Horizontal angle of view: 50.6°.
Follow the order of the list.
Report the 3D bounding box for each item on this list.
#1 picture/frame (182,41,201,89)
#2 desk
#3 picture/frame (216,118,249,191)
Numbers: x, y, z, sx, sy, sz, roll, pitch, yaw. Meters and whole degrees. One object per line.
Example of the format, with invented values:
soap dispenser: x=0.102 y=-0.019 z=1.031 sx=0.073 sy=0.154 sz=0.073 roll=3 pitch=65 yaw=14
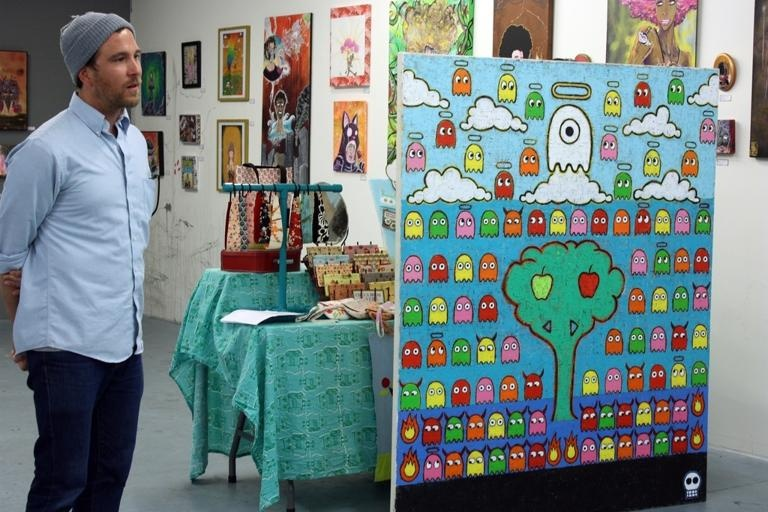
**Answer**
picture/frame: x=-2.366 y=-2.331 z=9.970 sx=0.053 sy=0.575 sz=0.449 roll=-3 pitch=5 yaw=-38
desk: x=-0.690 y=0.742 z=5.221 sx=1.171 sy=1.248 sz=1.573 roll=0 pitch=1 yaw=-28
picture/frame: x=-1.762 y=-1.170 z=9.390 sx=0.022 sy=0.737 sz=0.496 roll=4 pitch=7 yaw=29
